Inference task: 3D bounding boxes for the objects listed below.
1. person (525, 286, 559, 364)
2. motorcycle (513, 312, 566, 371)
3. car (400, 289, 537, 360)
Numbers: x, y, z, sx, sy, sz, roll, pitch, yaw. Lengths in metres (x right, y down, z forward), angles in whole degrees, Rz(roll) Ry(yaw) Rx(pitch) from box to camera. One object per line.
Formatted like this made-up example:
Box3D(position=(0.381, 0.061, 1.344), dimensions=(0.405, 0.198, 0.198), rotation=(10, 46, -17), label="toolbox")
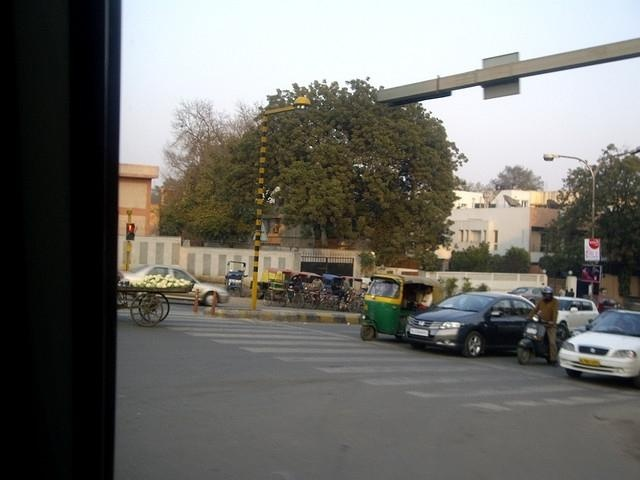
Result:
Box3D(position=(5.967, 2.143, 16.160), dimensions=(0.641, 2.065, 0.735), rotation=(-2, 2, -36), label="person")
Box3D(position=(5.486, 2.614, 15.660), dimensions=(1.104, 1.606, 0.984), rotation=(-3, 2, -39), label="motorcycle")
Box3D(position=(4.052, 2.219, 16.699), dimensions=(3.513, 1.150, 1.526), rotation=(6, -3, -35), label="car")
